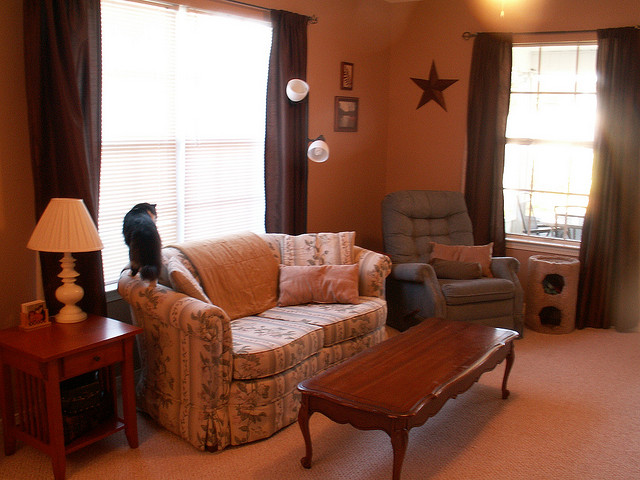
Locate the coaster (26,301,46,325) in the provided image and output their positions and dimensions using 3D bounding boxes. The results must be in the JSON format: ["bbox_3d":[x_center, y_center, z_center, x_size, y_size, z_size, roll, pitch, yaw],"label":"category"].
[{"bbox_3d":[-1.628,0.423,3.051,0.048,0.125,0.133,2,3,32],"label":"coaster"}]

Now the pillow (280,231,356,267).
[{"bbox_3d":[-0.036,0.057,4.135,0.482,0.286,0.140,-1,-21,-6],"label":"pillow"}]

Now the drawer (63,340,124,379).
[{"bbox_3d":[-1.249,0.657,2.930,0.164,0.117,0.250,6,11,33],"label":"drawer"}]

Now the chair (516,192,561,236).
[{"bbox_3d":[2.211,-0.230,5.362,0.372,0.459,0.343,-2,3,-7],"label":"chair"}]

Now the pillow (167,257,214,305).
[{"bbox_3d":[-0.859,0.262,3.435,0.227,0.251,0.391,-5,11,-17],"label":"pillow"}]

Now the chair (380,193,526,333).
[{"bbox_3d":[1.175,0.187,4.788,1.095,1.208,1.123,-2,11,-11],"label":"chair"}]

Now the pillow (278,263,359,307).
[{"bbox_3d":[-0.018,0.342,4.029,0.619,0.325,0.174,0,-4,-9],"label":"pillow"}]

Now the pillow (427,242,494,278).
[{"bbox_3d":[1.275,0.162,4.787,0.388,0.114,0.355,3,40,11],"label":"pillow"}]

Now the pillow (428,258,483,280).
[{"bbox_3d":[1.192,0.250,4.645,0.262,0.086,0.214,4,29,7],"label":"pillow"}]

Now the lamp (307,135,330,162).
[{"bbox_3d":[-0.027,-0.781,4.423,0.195,0.193,0.190,1,34,-2],"label":"lamp"}]

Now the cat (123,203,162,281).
[{"bbox_3d":[-1.073,0.034,3.227,0.168,0.303,0.612,7,51,-27],"label":"cat"}]

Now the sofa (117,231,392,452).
[{"bbox_3d":[-0.360,0.546,3.962,1.145,1.061,2.082,7,10,36],"label":"sofa"}]

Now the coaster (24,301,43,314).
[{"bbox_3d":[-1.641,0.388,3.053,0.033,0.040,0.060,18,23,39],"label":"coaster"}]

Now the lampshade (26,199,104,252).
[{"bbox_3d":[-1.438,-0.075,2.998,0.311,0.215,0.334,0,2,-6],"label":"lampshade"}]

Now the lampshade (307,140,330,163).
[{"bbox_3d":[-0.015,-0.752,4.395,0.164,0.163,0.114,10,41,-10],"label":"lampshade"}]
